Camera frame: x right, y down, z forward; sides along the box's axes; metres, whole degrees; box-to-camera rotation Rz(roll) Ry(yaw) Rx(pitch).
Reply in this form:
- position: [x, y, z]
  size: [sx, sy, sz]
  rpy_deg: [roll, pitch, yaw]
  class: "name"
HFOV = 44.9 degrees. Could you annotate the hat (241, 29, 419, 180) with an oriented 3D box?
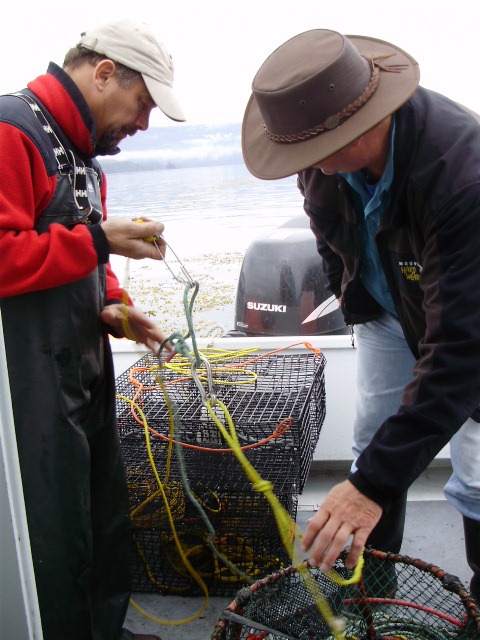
- position: [0.174, -0.455, 1.288]
  size: [0.436, 0.305, 0.319]
  rpy_deg: [2, 7, 16]
  class: "hat"
